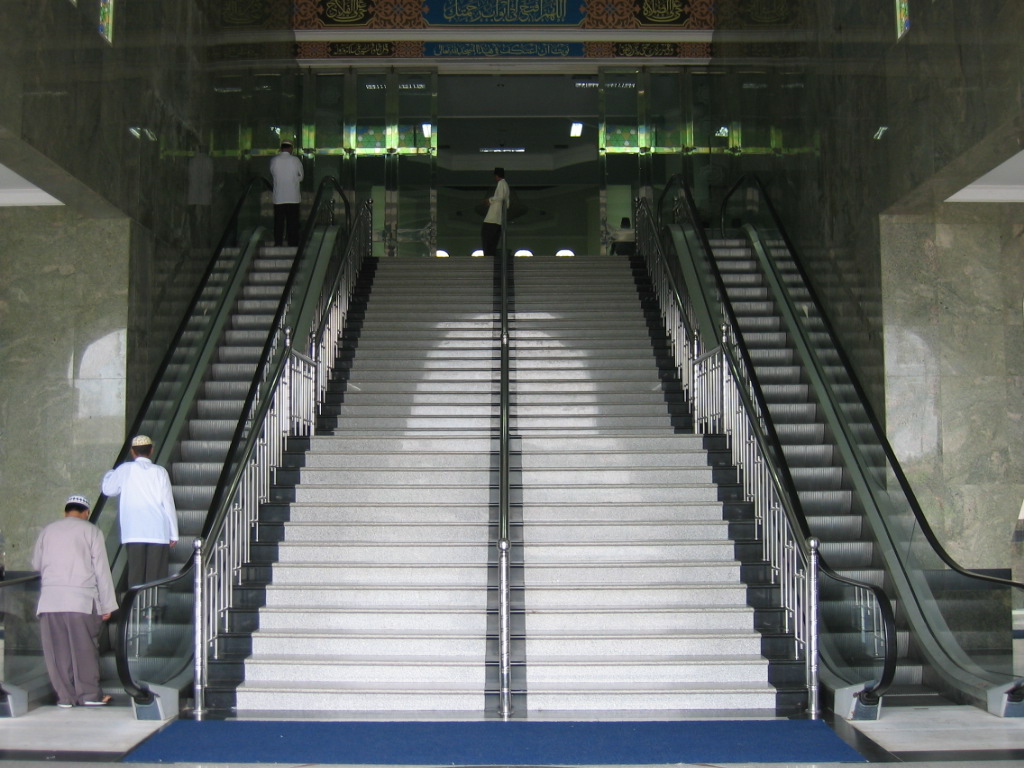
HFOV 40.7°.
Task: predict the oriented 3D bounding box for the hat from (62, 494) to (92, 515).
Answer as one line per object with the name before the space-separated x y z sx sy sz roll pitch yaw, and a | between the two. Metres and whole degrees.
hat | -3.594 0.971 11.307 0.281 0.130 0.280 4 -2 39

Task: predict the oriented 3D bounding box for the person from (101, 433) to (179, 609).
person | -3.047 1.111 11.483 0.512 0.863 0.728 -16 35 -16

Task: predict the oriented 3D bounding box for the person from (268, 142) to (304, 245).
person | -2.724 -2.225 16.674 0.478 1.016 1.062 -9 34 -7
